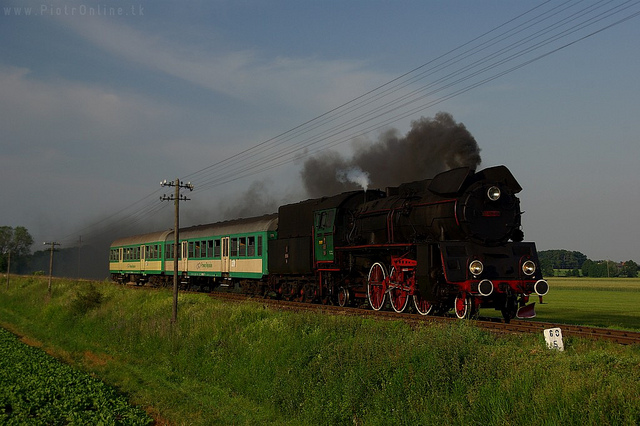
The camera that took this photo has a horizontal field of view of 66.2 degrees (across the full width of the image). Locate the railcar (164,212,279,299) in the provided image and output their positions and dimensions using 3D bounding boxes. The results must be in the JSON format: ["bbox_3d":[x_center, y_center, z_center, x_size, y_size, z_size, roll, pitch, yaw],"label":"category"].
[{"bbox_3d":[-7.501,3.528,38.321,3.480,5.604,18.749,6,-9,-37],"label":"railcar"}]

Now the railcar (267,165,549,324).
[{"bbox_3d":[3.162,1.529,25.441,4.728,6.981,16.917,-12,8,-35],"label":"railcar"}]
